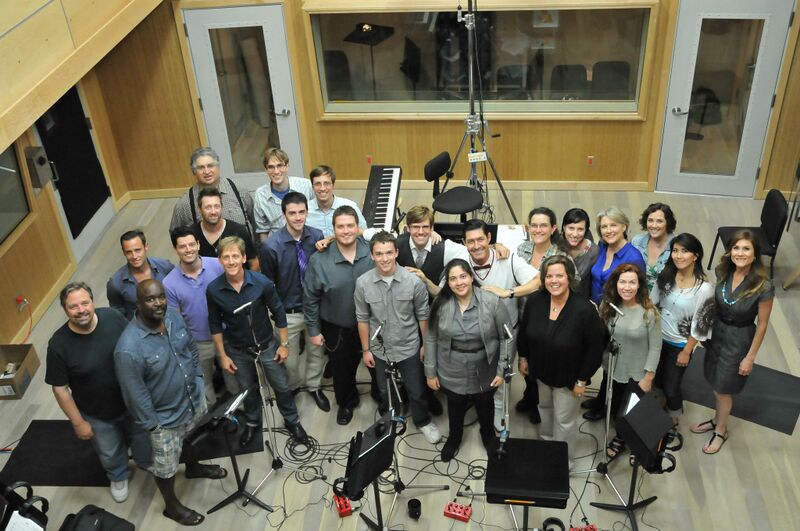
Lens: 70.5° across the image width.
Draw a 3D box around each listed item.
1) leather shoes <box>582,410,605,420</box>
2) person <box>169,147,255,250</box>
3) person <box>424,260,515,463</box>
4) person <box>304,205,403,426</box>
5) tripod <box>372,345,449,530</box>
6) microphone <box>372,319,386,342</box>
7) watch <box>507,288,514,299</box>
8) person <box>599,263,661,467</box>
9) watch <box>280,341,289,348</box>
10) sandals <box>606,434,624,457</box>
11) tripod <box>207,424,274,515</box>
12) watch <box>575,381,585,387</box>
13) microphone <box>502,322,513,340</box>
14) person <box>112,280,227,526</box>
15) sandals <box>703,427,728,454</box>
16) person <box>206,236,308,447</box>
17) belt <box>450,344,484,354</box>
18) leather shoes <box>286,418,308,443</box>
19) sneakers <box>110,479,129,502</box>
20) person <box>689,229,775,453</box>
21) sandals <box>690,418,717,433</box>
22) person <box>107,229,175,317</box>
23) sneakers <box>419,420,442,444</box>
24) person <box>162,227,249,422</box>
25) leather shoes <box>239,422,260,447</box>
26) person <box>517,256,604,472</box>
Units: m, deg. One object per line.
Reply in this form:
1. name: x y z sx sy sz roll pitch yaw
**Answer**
1. leather shoes: 1.990 1.520 5.773 0.242 0.099 0.086 4 64 -9
2. person: -2.093 -0.635 6.336 0.929 1.280 0.561 -15 26 -30
3. person: 0.613 0.946 5.198 0.774 1.985 0.621 3 25 15
4. person: -0.519 0.515 5.793 0.899 2.302 0.508 -12 26 -18
5. tripod: 0.098 1.601 5.207 0.816 1.331 1.019 13 59 19
6. microphone: -0.193 0.535 4.703 0.044 0.161 0.174 17 -7 -5
7. watch: 0.987 0.258 5.096 0.043 0.075 0.073 2 41 -1
8. person: 2.072 0.910 5.229 0.582 1.811 0.578 9 21 40
9. watch: -1.135 0.773 5.544 0.068 0.044 0.062 1 41 6
10. sandals: 2.034 1.723 5.380 0.101 0.127 0.292 7 35 17
11. tripod: -1.519 1.966 5.390 0.484 0.716 0.470 -30 54 -32
12. watch: 1.573 1.030 4.945 0.049 0.028 0.051 -16 31 5
13. microphone: 0.827 0.513 4.397 0.114 0.200 0.046 -26 50 -13
14. person: -1.973 1.303 4.977 0.527 1.984 0.643 17 30 38
15. sandals: 3.015 1.701 5.420 0.132 0.130 0.320 13 46 42
16. person: -1.359 0.781 5.462 0.843 2.252 0.542 0 27 2
17. belt: 0.592 0.740 5.023 0.290 0.072 0.043 -1 24 5
18. leather shoes: -1.029 1.672 5.725 0.117 0.131 0.314 -28 54 -31
19. sneakers: -2.625 2.108 5.313 0.094 0.117 0.288 -3 44 -10
20. person: 3.039 0.717 5.259 0.676 2.071 0.477 -21 29 -35
21. sandals: 2.981 1.581 5.602 0.273 0.105 0.098 -5 47 1
22. person: -2.630 0.090 5.738 0.751 0.771 0.414 -21 38 -28
23. sneakers: 0.287 1.622 5.621 0.124 0.111 0.253 -31 39 -19
24. person: -1.883 0.668 5.677 0.716 2.155 0.590 -24 37 -33
25. leather shoes: -1.514 1.684 5.763 0.108 0.127 0.287 10 37 9
26. person: 1.418 0.877 5.117 0.729 1.999 0.283 12 28 31
